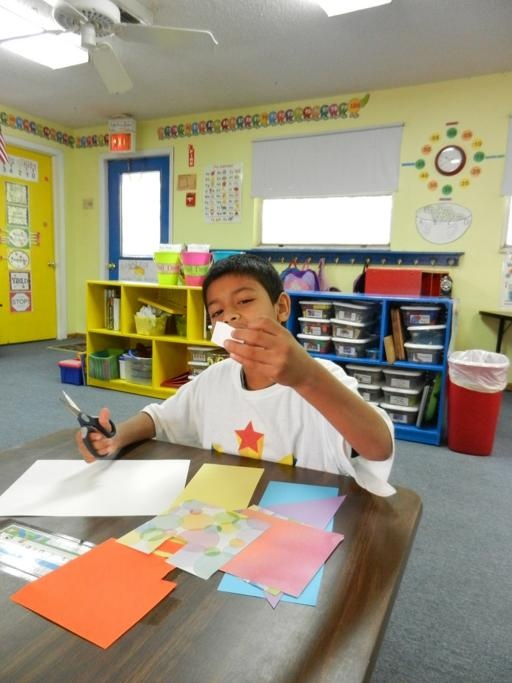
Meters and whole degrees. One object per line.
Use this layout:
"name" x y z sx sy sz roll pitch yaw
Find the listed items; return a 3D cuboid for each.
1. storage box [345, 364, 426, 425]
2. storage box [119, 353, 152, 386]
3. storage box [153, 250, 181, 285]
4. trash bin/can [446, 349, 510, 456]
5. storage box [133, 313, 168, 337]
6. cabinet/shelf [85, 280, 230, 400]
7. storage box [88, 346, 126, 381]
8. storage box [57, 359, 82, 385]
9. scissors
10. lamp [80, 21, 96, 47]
"storage box" 0.719 0.267 2.682 0.299 0.147 0.451 3 3 27
"storage box" -0.821 0.195 3.450 0.202 0.135 0.113 11 17 36
"storage box" -0.602 -0.500 3.424 0.232 0.214 0.211 -1 0 -11
"trash bin/can" 1.021 0.320 2.348 0.256 0.466 0.248 4 8 24
"storage box" -0.717 -0.105 3.394 0.183 0.114 0.143 0 6 14
"cabinet/shelf" -0.608 -0.003 2.948 0.807 0.513 0.247 5 7 32
"storage box" -1.073 0.162 3.631 0.230 0.150 0.230 3 3 32
"storage box" -1.354 0.211 3.691 0.186 0.196 0.183 -8 14 -40
"scissors" -0.301 0.161 0.875 0.015 0.136 0.080 -31 12 23
"lamp" -0.727 -1.325 2.170 0.058 0.121 0.118 -2 7 -18
